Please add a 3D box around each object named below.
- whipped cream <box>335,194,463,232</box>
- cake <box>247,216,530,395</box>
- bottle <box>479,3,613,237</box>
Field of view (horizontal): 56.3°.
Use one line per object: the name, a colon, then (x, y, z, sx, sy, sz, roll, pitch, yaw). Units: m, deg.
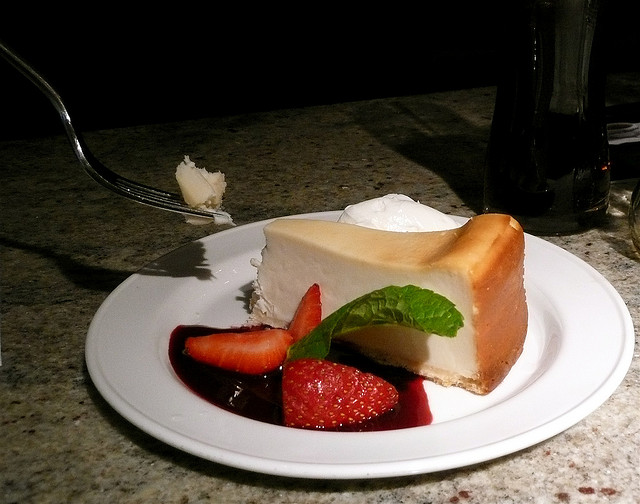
whipped cream: (0.144, -0.071, 0.991, 0.216, 0.071, 0.254, 7, 6, 25)
cake: (0.077, 0.035, 0.848, 0.370, 0.156, 0.205, 10, 23, 26)
bottle: (0.378, -0.210, 0.964, 0.204, 0.360, 0.147, 2, 34, 10)
